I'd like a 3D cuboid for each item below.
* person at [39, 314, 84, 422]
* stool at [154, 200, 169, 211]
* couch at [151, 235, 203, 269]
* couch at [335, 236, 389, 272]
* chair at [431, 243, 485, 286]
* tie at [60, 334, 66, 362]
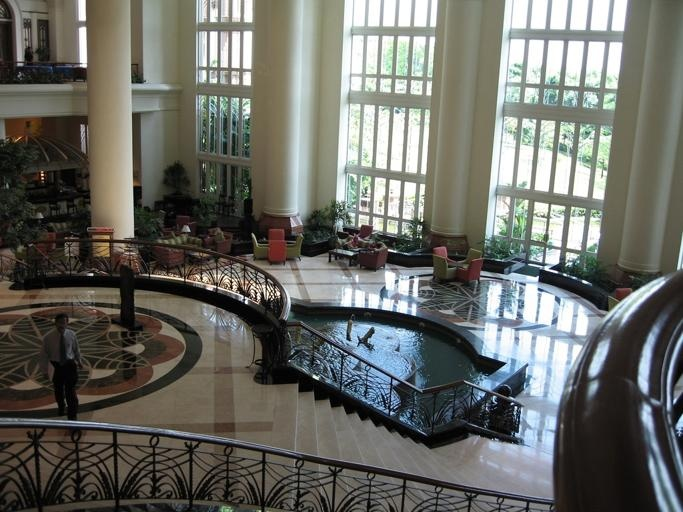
[{"bbox_3d":[-3.774,1.495,6.998,0.421,1.475,0.457,1,13,-10],"label":"person"},{"bbox_3d":[-8.045,-2.261,23.444,0.579,0.588,0.555,-12,18,-41],"label":"stool"},{"bbox_3d":[-5.108,-0.073,16.061,0.502,0.532,0.986,5,15,22],"label":"couch"},{"bbox_3d":[0.808,-0.098,18.600,1.039,0.988,2.124,-12,20,-41],"label":"couch"},{"bbox_3d":[3.872,0.302,17.562,1.560,1.289,1.162,4,10,3],"label":"chair"},{"bbox_3d":[-3.669,1.207,6.879,0.082,0.369,0.062,-1,14,-19],"label":"tie"}]
